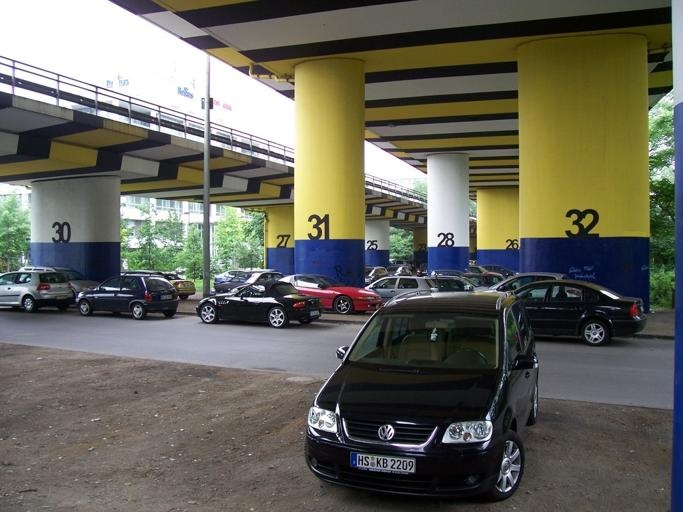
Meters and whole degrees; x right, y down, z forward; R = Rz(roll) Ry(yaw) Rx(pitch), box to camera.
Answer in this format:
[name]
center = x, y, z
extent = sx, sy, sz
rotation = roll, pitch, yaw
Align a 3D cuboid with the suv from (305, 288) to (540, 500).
[suv]
center = 1.219, 1.536, 5.942
extent = 1.728, 1.100, 2.868
rotation = -2, -4, 21
